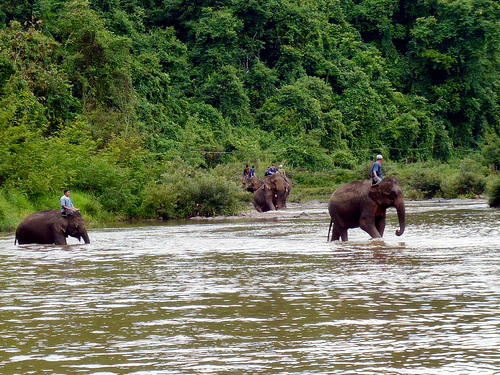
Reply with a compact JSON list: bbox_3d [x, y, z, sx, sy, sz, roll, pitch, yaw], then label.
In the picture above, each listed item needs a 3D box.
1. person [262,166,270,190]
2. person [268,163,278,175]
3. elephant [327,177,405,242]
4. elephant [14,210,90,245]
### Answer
[{"bbox_3d":[0.997,-0.621,55.599,0.600,1.100,0.501,2,-2,-11],"label":"person"},{"bbox_3d":[1.349,-1.150,55.285,0.623,1.020,0.448,1,8,33],"label":"person"},{"bbox_3d":[4.534,1.038,35.435,3.706,2.617,1.867,-8,-12,41],"label":"elephant"},{"bbox_3d":[-8.192,1.621,36.536,2.806,1.780,1.360,-2,4,-10],"label":"elephant"}]
